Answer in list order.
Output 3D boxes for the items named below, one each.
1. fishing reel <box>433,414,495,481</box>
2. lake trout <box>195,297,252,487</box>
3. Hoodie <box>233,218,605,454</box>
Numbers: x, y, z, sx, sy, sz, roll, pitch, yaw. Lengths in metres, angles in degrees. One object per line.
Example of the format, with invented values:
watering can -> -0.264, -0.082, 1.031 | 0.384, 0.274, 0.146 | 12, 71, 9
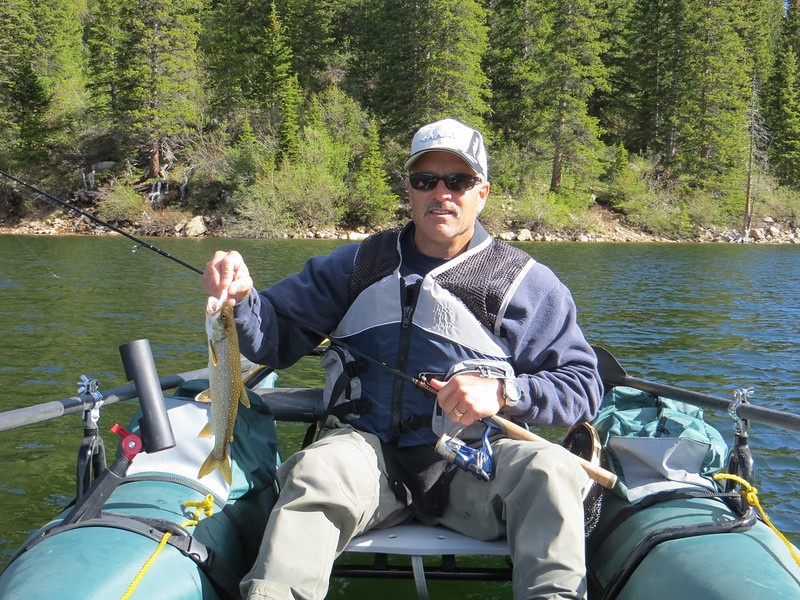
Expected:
fishing reel -> 0.328, 0.644, 3.581 | 0.142, 0.308, 0.338 | -9, 20, -38
lake trout -> -0.765, 0.346, 3.540 | 0.353, 0.905, 0.190 | 1, 9, -1
Hoodie -> 0.092, 0.143, 4.149 | 1.915, 1.063, 1.049 | 8, 16, 21
